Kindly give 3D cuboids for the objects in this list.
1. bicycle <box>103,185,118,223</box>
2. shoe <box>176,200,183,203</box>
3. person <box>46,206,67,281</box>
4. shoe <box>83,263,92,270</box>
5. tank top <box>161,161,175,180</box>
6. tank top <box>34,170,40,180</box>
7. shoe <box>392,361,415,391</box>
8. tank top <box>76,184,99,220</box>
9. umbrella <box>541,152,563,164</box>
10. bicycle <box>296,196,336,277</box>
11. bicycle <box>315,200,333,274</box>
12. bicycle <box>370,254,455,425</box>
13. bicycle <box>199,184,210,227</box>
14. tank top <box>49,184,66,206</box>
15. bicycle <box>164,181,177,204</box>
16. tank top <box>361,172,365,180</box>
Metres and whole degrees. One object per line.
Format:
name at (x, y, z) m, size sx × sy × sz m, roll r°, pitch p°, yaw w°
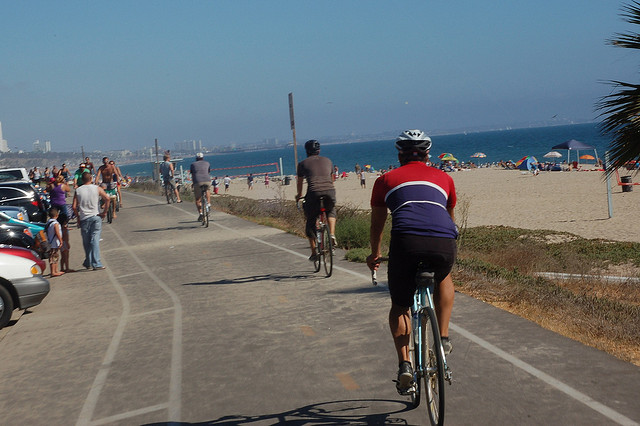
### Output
bicycle at (-8.844, -0.366, 22.232) m, size 0.278 × 1.372 × 1.910 m, roll -2°, pitch 5°, yaw -21°
shoe at (-7.595, -0.657, 28.378) m, size 0.538 × 0.214 × 0.182 m, roll 0°, pitch 10°, yaw 4°
person at (-6.304, 0.663, 12.579) m, size 0.394 × 1.607 × 0.972 m, roll -2°, pitch 5°, yaw -28°
shoe at (-5.722, 1.281, 12.953) m, size 0.193 × 0.171 × 0.448 m, roll -2°, pitch 5°, yaw -24°
tank top at (-7.323, -2.137, 25.094) m, size 0.489 × 0.679 × 1.446 m, roll -1°, pitch 5°, yaw -16°
tank top at (-23.285, -3.192, 43.301) m, size 0.361 × 0.757 × 1.579 m, roll -2°, pitch 5°, yaw -27°
shoe at (0.850, 1.667, 5.387) m, size 0.276 × 0.347 × 0.817 m, roll -2°, pitch -18°, yaw 3°
tank top at (-5.508, -0.272, 12.465) m, size 0.466 × 0.802 × 0.310 m, roll -2°, pitch 5°, yaw -26°
umbrella at (28.375, -6.538, 64.810) m, size 1.997 × 1.240 × 2.032 m, roll 5°, pitch 11°, yaw 29°
bicycle at (0.069, 0.450, 10.431) m, size 0.273 × 1.577 × 0.833 m, roll -2°, pitch 5°, yaw -21°
bicycle at (0.080, 0.459, 10.345) m, size 0.199 × 1.430 × 0.663 m, roll -1°, pitch 5°, yaw -16°
bicycle at (0.911, 1.282, 5.427) m, size 0.878 × 1.695 × 1.246 m, roll 1°, pitch 5°, yaw 13°
bicycle at (-4.001, -0.267, 18.195) m, size 0.272 × 1.456 × 1.029 m, roll -1°, pitch 5°, yaw -11°
tank top at (-7.404, -0.518, 14.834) m, size 0.544 × 0.695 × 0.396 m, roll 1°, pitch -22°, yaw -19°
bicycle at (-8.143, -1.168, 28.575) m, size 0.671 × 0.827 × 1.347 m, roll -4°, pitch 34°, yaw -10°
tank top at (4.032, -3.659, 50.712) m, size 0.438 × 0.614 × 0.451 m, roll 1°, pitch 4°, yaw 4°
